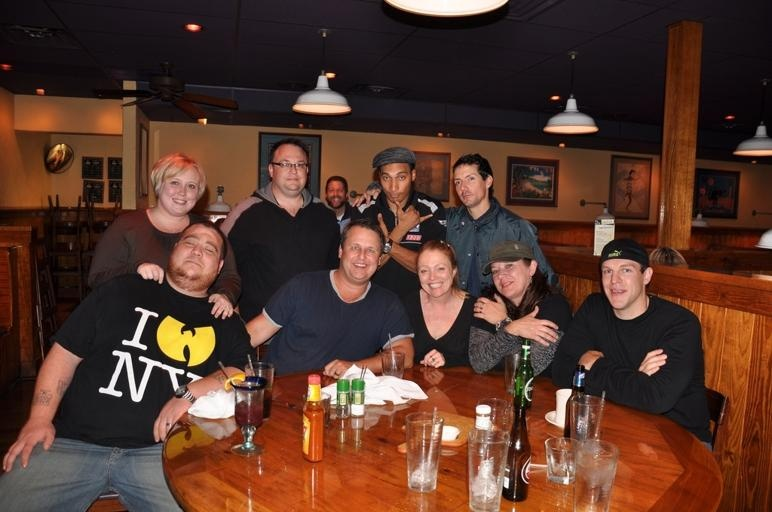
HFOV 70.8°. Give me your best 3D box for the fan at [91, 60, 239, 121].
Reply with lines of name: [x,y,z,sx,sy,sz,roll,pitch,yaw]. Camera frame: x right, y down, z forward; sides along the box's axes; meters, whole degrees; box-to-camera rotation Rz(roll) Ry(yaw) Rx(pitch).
fan: [-2.593,-2.011,6.478,1.593,0.405,1.479,6,10,23]

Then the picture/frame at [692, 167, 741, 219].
picture/frame: [7.612,-1.443,12.526,1.282,1.142,0.311,0,4,-27]

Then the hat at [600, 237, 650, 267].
hat: [1.524,-0.006,3.440,0.227,0.126,0.214,13,-10,-20]

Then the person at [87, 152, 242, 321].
person: [-1.483,-0.168,3.743,0.955,1.040,0.758,11,-3,-35]

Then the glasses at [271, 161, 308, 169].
glasses: [-0.742,-0.696,4.156,0.272,0.071,0.124,1,3,-14]

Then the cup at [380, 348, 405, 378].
cup: [0.048,0.628,3.195,0.151,0.150,0.148,0,0,0]

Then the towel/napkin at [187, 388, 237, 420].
towel/napkin: [-0.886,0.744,2.741,0.193,0.062,0.150,-2,10,-18]

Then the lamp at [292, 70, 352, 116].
lamp: [-0.732,-1.928,6.379,0.742,0.365,0.669,-7,23,-23]

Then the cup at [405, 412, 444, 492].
cup: [0.160,0.837,2.344,0.151,0.315,0.112,1,4,2]

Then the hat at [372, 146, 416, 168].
hat: [0.080,-0.844,4.599,0.306,0.228,0.509,1,2,7]

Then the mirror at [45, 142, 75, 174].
mirror: [-6.828,-2.069,11.308,0.127,0.735,0.749,15,13,42]

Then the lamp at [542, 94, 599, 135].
lamp: [2.378,-1.841,7.001,0.663,0.351,0.606,1,10,0]

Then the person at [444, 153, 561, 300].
person: [0.822,-0.246,4.648,0.474,1.108,1.399,-16,11,-35]

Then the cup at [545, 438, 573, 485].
cup: [0.760,0.884,2.371,0.117,0.200,0.079,2,4,19]

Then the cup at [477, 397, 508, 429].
cup: [0.534,0.781,2.680,0.176,0.155,0.163,-4,-18,-1]

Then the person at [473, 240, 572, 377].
person: [0.866,0.348,3.559,0.656,0.972,0.627,18,-24,-33]

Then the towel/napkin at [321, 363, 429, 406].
towel/napkin: [-0.016,0.713,2.954,0.347,0.086,0.260,0,4,-16]

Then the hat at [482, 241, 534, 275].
hat: [0.840,-0.018,3.771,0.400,0.179,0.304,3,-18,-44]

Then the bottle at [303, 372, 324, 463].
bottle: [-0.331,0.721,2.476,0.098,0.384,0.136,1,4,-8]

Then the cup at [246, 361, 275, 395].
cup: [-0.608,0.619,2.808,0.163,0.167,0.165,1,0,0]
